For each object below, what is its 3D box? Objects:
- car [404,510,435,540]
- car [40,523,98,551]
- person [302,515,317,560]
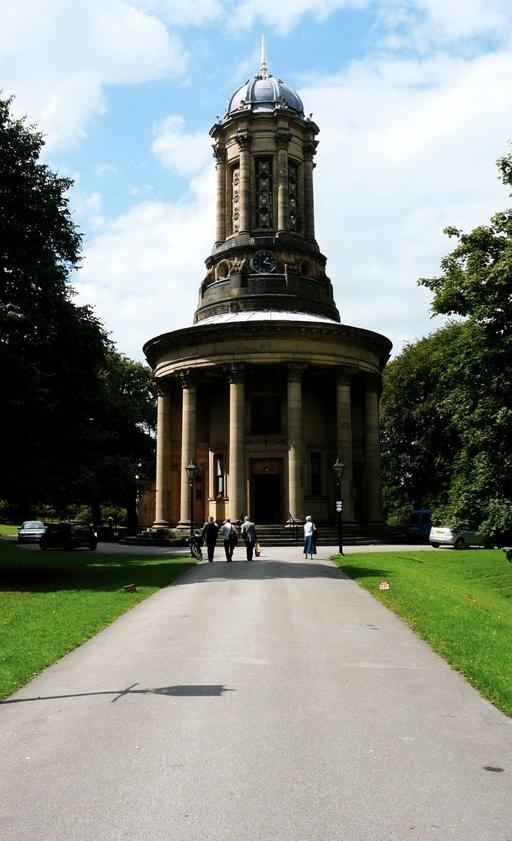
[{"bbox_3d":[9.220,6.029,43.511,1.706,1.904,3.200,0,-2,17],"label":"car"},{"bbox_3d":[-9.729,6.005,39.723,3.092,1.394,1.953,-8,-13,41],"label":"car"},{"bbox_3d":[1.977,4.272,28.111,0.431,1.462,1.303,0,-9,4],"label":"person"}]
